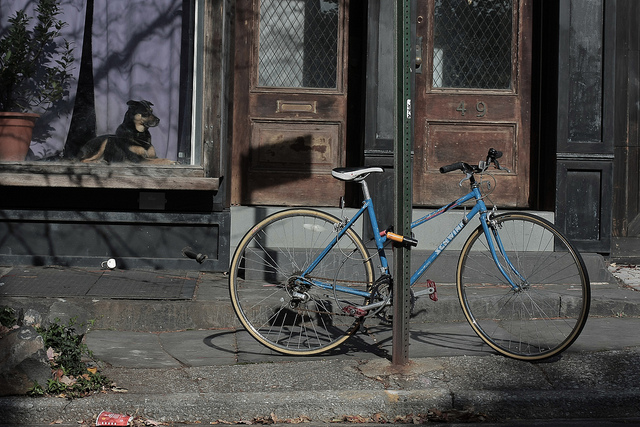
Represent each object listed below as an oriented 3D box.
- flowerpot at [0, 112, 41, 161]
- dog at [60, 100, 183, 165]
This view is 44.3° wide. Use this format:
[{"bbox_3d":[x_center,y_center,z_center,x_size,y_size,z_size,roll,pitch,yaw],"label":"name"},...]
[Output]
[{"bbox_3d":[-3.643,-0.935,9.595,0.533,0.418,0.540,3,-3,4],"label":"flowerpot"},{"bbox_3d":[-2.445,-1.002,9.789,1.594,0.797,0.567,2,4,17],"label":"dog"}]
